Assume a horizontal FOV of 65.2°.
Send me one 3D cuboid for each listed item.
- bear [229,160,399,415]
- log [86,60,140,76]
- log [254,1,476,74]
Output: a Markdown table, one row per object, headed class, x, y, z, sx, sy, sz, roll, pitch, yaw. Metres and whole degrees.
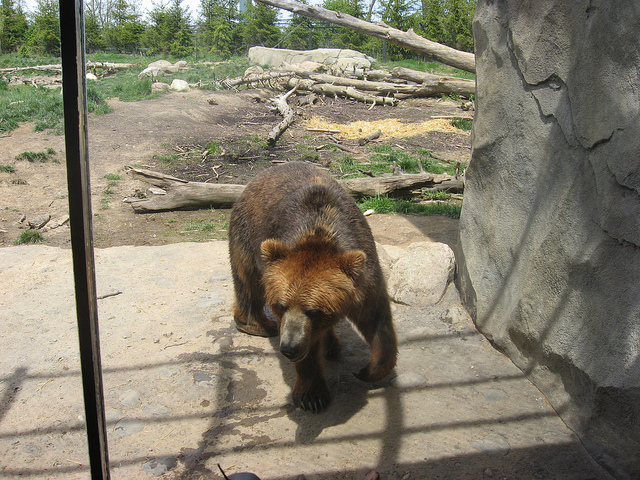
| class | x | y | z | sx | sy | sz | roll | pitch | yaw |
| --- | --- | --- | --- | --- | --- | --- | --- | --- | --- |
| bear | -0.118 | 0.361 | 5.124 | 1.280 | 2.042 | 2.850 | -7 | 18 | -18 |
| log | -13.129 | -10.707 | 31.298 | 3.108 | 0.454 | 3.217 | 15 | 25 | 26 |
| log | 1.609 | -4.608 | 11.657 | 5.998 | 1.229 | 1.119 | -15 | 29 | -37 |
